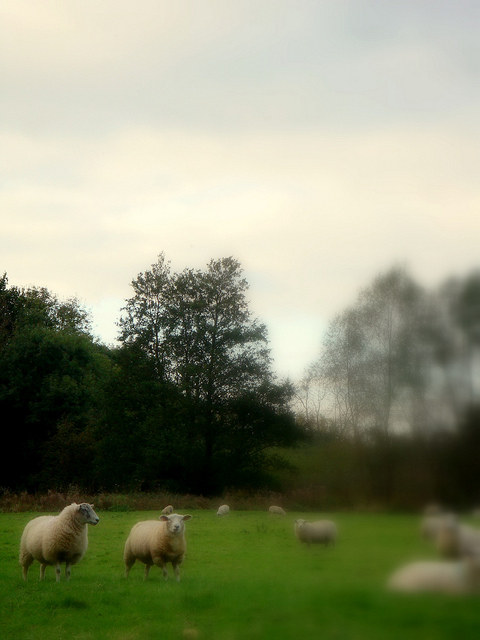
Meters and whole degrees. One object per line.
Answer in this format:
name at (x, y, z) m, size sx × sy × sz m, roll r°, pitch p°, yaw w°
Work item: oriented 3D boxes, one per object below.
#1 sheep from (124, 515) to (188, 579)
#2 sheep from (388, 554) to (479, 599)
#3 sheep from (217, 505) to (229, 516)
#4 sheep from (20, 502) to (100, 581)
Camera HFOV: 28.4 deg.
sheep at (-1.469, 4.118, 17.242) m, size 0.636 × 0.939 × 1.536 m, roll -9°, pitch -6°, yaw -45°
sheep at (1.789, 2.331, 8.773) m, size 0.873 × 0.472 × 0.343 m, roll 0°, pitch -3°, yaw -1°
sheep at (-0.645, 6.893, 34.532) m, size 0.418 × 0.311 × 1.043 m, roll -13°, pitch -4°, yaw -4°
sheep at (-3.315, 4.087, 17.285) m, size 1.918 × 1.405 × 0.959 m, roll -15°, pitch -20°, yaw 42°
